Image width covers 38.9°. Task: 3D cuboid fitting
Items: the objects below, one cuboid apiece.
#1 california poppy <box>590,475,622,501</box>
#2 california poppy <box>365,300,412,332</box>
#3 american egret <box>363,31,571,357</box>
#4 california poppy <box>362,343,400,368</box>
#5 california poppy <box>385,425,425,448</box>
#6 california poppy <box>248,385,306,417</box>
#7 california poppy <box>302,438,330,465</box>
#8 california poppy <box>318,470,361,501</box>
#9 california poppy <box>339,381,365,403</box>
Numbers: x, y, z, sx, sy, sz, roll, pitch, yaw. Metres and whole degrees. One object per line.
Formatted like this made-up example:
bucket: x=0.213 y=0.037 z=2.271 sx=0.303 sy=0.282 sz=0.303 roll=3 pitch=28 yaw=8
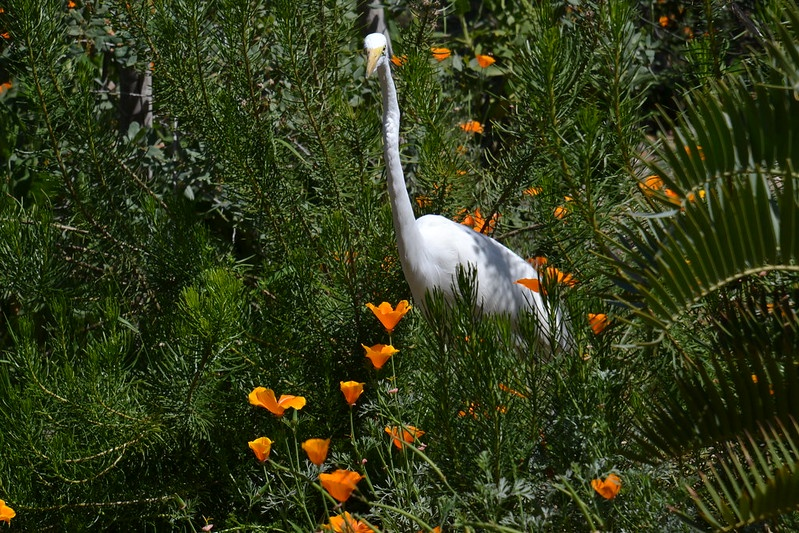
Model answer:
california poppy: x=0.552 y=0.580 z=2.984 sx=0.071 sy=0.046 sz=0.078 roll=-13 pitch=28 yaw=29
california poppy: x=-0.024 y=0.134 z=3.300 sx=0.106 sy=0.084 sz=0.098 roll=-4 pitch=2 yaw=-23
american egret: x=0.141 y=-0.231 z=4.007 sx=0.343 sy=1.160 sz=0.939 roll=4 pitch=14 yaw=31
california poppy: x=-0.041 y=0.246 z=3.236 sx=0.080 sy=0.050 sz=0.077 roll=0 pitch=7 yaw=-32
california poppy: x=0.022 y=0.478 z=3.221 sx=0.090 sy=0.067 sz=0.090 roll=9 pitch=-9 yaw=-4
california poppy: x=-0.330 y=0.384 z=3.185 sx=0.152 sy=0.086 sz=0.136 roll=1 pitch=-2 yaw=14
california poppy: x=-0.226 y=0.503 z=3.083 sx=0.072 sy=0.076 sz=0.106 roll=2 pitch=-2 yaw=-5
california poppy: x=-0.162 y=0.589 z=3.066 sx=0.109 sy=0.084 sz=0.148 roll=2 pitch=-2 yaw=-4
california poppy: x=-0.128 y=0.348 z=3.221 sx=0.074 sy=0.077 sz=0.074 roll=12 pitch=-17 yaw=-33
